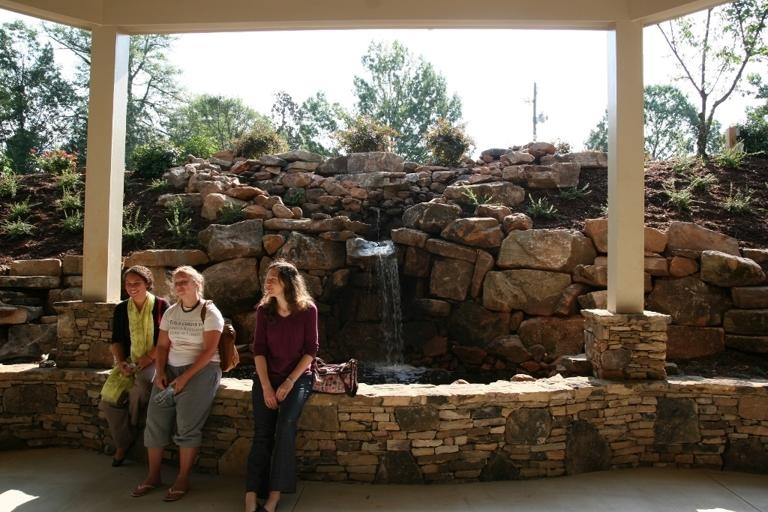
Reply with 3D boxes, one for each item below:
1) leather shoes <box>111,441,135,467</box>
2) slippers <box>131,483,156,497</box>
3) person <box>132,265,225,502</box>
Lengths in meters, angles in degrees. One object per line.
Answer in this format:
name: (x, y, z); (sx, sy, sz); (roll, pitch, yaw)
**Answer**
leather shoes: (-3.689, 2.757, 8.838); (0.159, 0.435, 0.176); (14, -8, 26)
slippers: (-3.187, 3.065, 8.280); (0.246, 0.083, 0.127); (6, -4, -32)
person: (-2.733, 1.651, 8.465); (1.126, 3.006, 0.648); (-1, 2, -14)
